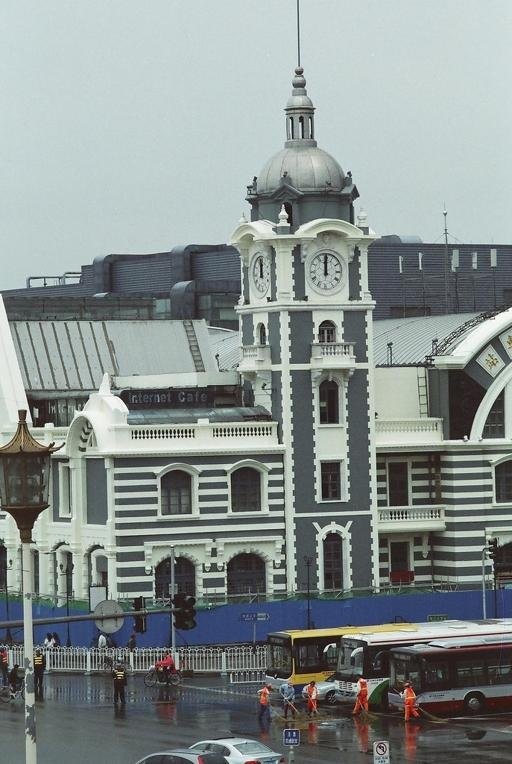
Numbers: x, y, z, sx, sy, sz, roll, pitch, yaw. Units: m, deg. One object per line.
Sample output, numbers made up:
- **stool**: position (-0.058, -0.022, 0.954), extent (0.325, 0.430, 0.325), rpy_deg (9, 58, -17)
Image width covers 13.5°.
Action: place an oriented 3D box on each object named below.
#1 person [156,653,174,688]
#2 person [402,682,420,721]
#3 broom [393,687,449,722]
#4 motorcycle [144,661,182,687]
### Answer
- **person**: position (-3.137, 9.952, 73.901), extent (0.688, 1.042, 0.866), rpy_deg (-1, -11, -3)
- **person**: position (4.744, 9.985, 66.909), extent (0.493, 1.239, 1.270), rpy_deg (-2, -11, 4)
- **broom**: position (4.881, 10.134, 66.868), extent (2.136, 1.138, 0.637), rpy_deg (3, 1, 36)
- **motorcycle**: position (-3.240, 10.094, 73.869), extent (1.100, 0.785, 0.655), rpy_deg (2, -2, 9)
